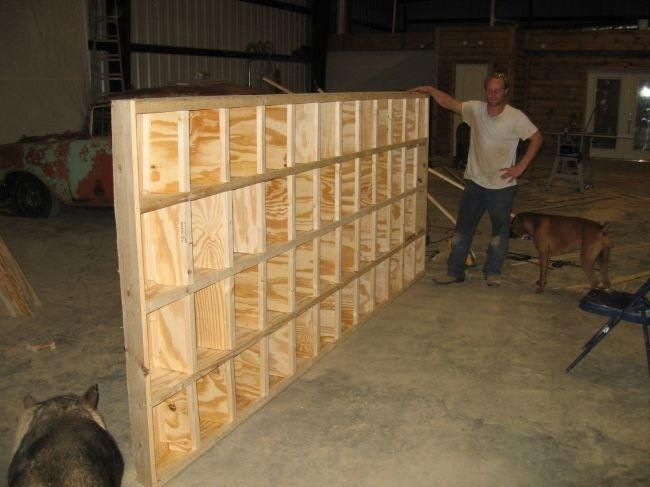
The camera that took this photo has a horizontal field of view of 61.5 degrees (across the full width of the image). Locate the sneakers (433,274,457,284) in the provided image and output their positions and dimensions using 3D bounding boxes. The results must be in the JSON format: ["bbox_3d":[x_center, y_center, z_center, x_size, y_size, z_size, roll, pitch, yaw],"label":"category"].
[{"bbox_3d":[1.493,0.423,6.763,0.250,0.087,0.118,2,4,-10],"label":"sneakers"}]
